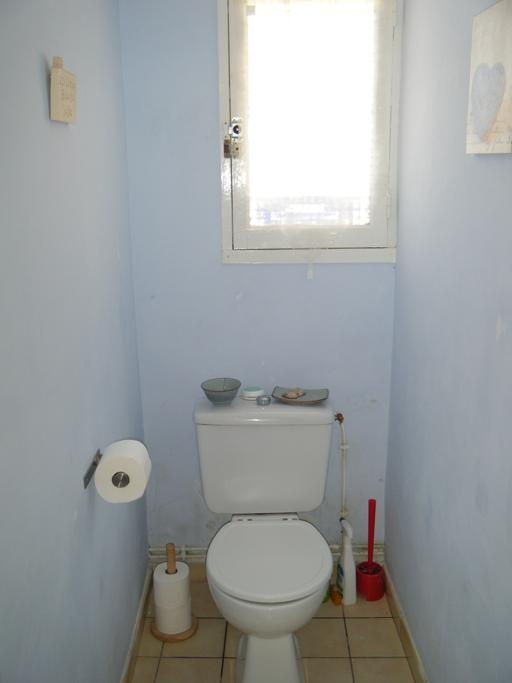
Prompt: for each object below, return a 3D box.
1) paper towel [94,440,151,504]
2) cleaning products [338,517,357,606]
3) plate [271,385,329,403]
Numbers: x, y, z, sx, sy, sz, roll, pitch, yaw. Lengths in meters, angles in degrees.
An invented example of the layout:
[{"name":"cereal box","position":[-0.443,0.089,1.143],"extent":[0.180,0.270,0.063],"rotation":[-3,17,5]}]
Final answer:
[{"name":"paper towel","position":[-0.308,0.268,1.287],"extent":[0.101,0.145,0.160],"rotation":[7,32,-7]},{"name":"cleaning products","position":[0.331,0.770,1.937],"extent":[0.067,0.287,0.178],"rotation":[1,9,3]},{"name":"plate","position":[0.143,0.180,1.767],"extent":[0.186,0.037,0.122],"rotation":[2,11,8]}]
